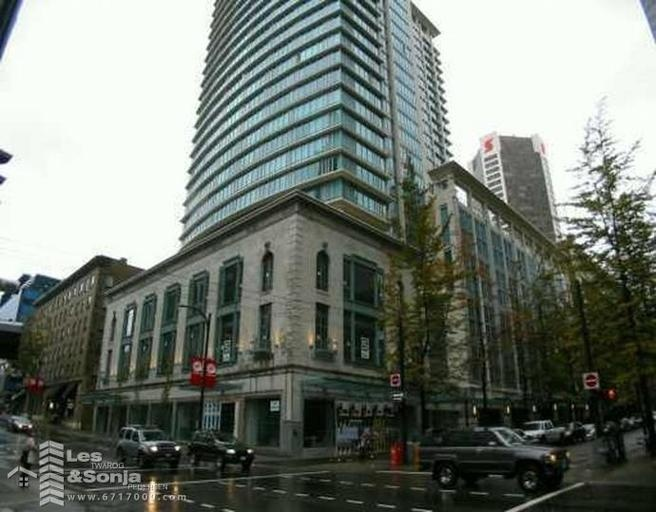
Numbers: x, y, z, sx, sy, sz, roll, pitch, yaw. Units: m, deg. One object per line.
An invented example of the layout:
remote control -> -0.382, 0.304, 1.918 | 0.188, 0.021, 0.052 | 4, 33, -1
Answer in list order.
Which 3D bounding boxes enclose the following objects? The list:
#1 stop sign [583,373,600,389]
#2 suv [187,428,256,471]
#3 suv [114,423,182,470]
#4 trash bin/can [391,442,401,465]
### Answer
stop sign -> 14.602, 6.714, 27.849 | 0.239, 1.016, 1.000 | 2, -5, -41
suv -> -6.077, 11.056, 29.283 | 4.183, 2.443, 1.366 | -22, -32, 36
suv -> -10.224, 10.760, 29.061 | 3.870, 2.513, 1.787 | -21, -31, 34
trash bin/can -> 4.093, 11.686, 30.165 | 0.594, 1.220, 0.886 | -5, -25, 8
